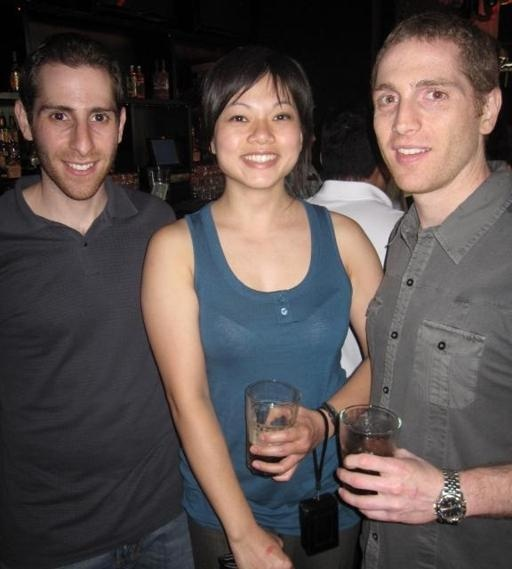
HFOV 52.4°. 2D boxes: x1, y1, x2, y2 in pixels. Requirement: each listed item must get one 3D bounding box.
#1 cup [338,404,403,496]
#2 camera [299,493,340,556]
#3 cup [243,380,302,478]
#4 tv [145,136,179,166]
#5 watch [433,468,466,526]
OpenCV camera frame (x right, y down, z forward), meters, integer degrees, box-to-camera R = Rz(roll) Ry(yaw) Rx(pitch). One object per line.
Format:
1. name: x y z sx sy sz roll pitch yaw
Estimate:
1. cup: 0.264 0.402 1.316 0.179 0.199 0.183 0 5 0
2. camera: 0.187 0.704 1.545 0.113 0.156 0.090 -6 20 -13
3. cup: 0.046 0.434 1.492 0.149 0.315 0.182 -2 19 -3
4. tv: -0.905 -1.258 4.928 0.322 0.421 0.057 18 -38 -36
5. watch: 0.424 0.485 1.213 0.066 0.095 0.105 4 0 11
